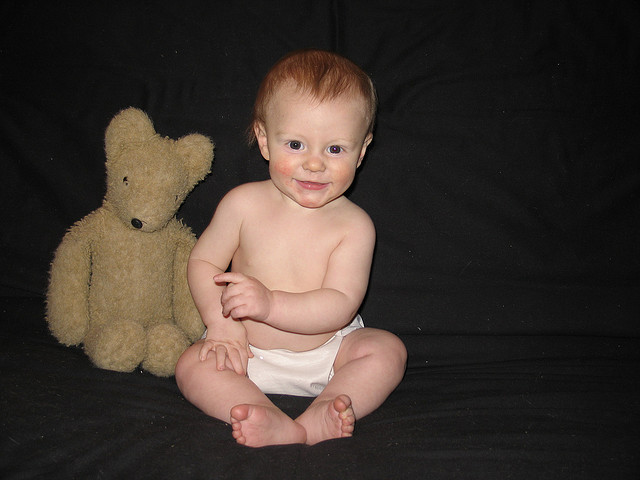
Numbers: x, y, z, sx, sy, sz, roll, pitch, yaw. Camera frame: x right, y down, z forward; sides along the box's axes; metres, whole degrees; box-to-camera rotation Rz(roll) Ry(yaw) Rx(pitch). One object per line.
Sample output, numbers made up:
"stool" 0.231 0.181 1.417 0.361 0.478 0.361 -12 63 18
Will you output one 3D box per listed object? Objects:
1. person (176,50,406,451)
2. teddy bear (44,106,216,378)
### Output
"person" -0.037 0.008 1.533 0.539 0.793 0.684 2 27 -21
"teddy bear" -0.473 0.006 1.666 0.410 0.581 0.418 7 26 -9
